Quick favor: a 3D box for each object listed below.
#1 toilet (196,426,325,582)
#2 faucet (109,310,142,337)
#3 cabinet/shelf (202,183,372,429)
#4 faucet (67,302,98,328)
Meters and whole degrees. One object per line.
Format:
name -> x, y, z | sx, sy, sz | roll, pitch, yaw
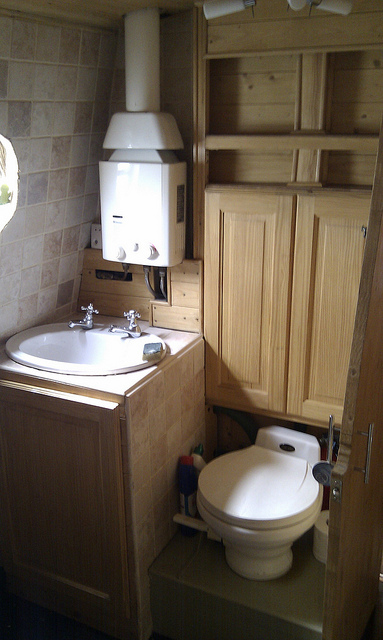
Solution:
toilet -> 0.266, 0.679, 1.663 | 0.358, 0.391, 0.480 | 5, 15, 29
faucet -> -0.268, 0.020, 1.914 | 0.121, 0.130, 0.045 | 9, 18, 20
cabinet/shelf -> 0.392, -0.093, 1.832 | 0.600, 1.001, 0.317 | 5, 34, 16
faucet -> -0.450, -0.016, 1.940 | 0.084, 0.121, 0.102 | 16, 17, 32
